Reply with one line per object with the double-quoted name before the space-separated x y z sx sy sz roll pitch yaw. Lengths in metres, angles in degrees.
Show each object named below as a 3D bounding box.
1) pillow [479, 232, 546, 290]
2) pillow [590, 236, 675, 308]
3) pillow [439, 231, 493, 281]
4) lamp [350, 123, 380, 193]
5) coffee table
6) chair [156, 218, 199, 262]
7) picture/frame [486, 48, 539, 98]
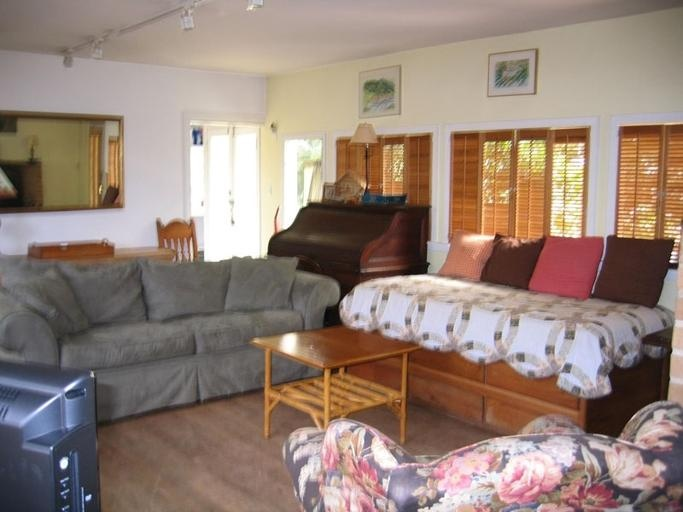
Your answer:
"pillow" 1.450 0.064 4.594 0.139 0.436 0.450 24 -7 -33
"pillow" 2.260 0.040 4.121 0.180 0.565 0.591 18 0 -27
"pillow" 1.172 -0.009 4.989 0.142 0.439 0.470 28 -14 -32
"lamp" 0.256 -1.123 6.233 0.285 0.774 0.838 2 10 2
"coffee table" -0.033 0.768 3.543 0.807 0.607 0.806 -2 5 -36
"chair" -2.261 -0.217 7.382 0.519 0.597 0.484 -2 11 -19
"picture/frame" 1.644 -1.746 5.143 0.054 0.454 0.529 -1 4 -44
